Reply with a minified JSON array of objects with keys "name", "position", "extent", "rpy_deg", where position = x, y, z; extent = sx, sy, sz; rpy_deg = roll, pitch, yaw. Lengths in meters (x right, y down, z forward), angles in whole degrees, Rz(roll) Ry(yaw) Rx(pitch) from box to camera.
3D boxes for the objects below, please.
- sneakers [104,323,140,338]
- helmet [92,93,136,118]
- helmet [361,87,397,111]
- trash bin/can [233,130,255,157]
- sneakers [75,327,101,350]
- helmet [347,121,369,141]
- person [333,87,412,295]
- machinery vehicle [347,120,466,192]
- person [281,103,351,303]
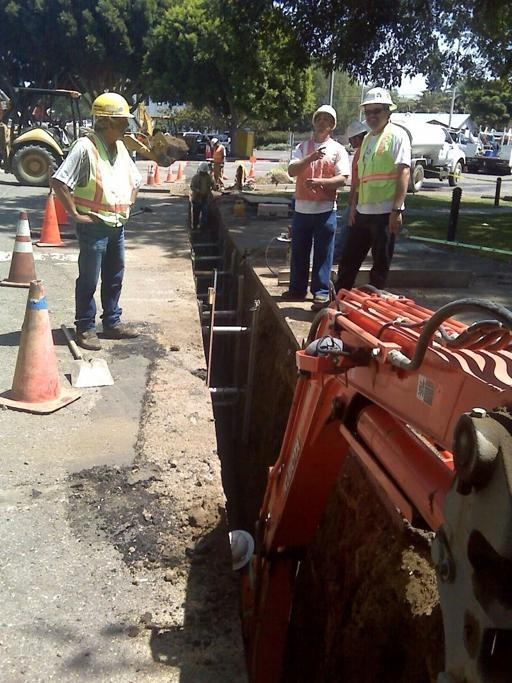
[{"name":"sneakers","position":[-1.168,-0.078,4.781],"extent":[0.306,0.143,0.121],"rpy_deg":[-4,26,-14]},{"name":"helmet","position":[-1.100,-1.779,4.239],"extent":[0.268,0.147,0.217],"rpy_deg":[3,36,-11]},{"name":"helmet","position":[1.023,-2.003,4.615],"extent":[0.260,0.171,0.339],"rpy_deg":[3,20,5]},{"name":"trash bin/can","position":[-0.969,-13.885,38.860],"extent":[1.494,2.106,1.816],"rpy_deg":[3,11,-4]},{"name":"sneakers","position":[-1.351,-0.016,4.431],"extent":[0.105,0.116,0.265],"rpy_deg":[-11,24,-40]},{"name":"helmet","position":[1.292,-2.735,7.242],"extent":[0.220,0.161,0.300],"rpy_deg":[-41,27,-29]},{"name":"person","position":[1.042,-1.292,4.880],"extent":[0.537,1.803,0.764],"rpy_deg":[5,11,8]},{"name":"machinery vehicle","position":[7.580,-8.503,25.221],"extent":[5.112,2.546,2.304],"rpy_deg":[-17,21,-37]},{"name":"person","position":[0.559,-1.291,5.128],"extent":[0.553,1.802,0.509],"rpy_deg":[5,6,20]}]
